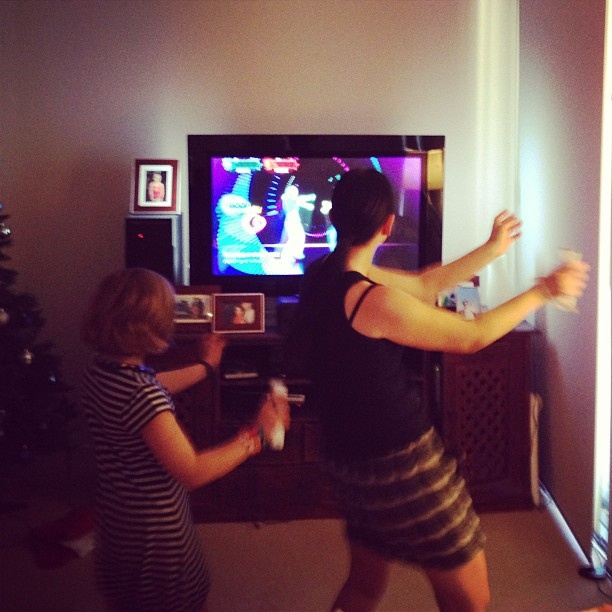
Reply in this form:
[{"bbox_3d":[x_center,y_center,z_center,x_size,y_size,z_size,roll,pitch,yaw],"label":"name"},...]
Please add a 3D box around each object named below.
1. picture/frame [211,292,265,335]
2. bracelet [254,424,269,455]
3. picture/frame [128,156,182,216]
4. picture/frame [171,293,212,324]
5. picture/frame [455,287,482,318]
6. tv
[{"bbox_3d":[-0.289,0.035,2.592,0.147,0.136,0.022,0,-8,-4],"label":"picture/frame"},{"bbox_3d":[-0.109,0.318,1.486,0.045,0.056,0.040,-9,7,-42],"label":"bracelet"},{"bbox_3d":[-0.655,-0.519,2.716,0.236,0.323,0.031,1,-6,-7],"label":"picture/frame"},{"bbox_3d":[-0.452,0.017,2.455,0.108,0.090,0.017,0,-13,-5],"label":"picture/frame"},{"bbox_3d":[0.650,-0.014,2.502,0.111,0.172,0.012,1,-22,1],"label":"picture/frame"},{"bbox_3d":[0.040,-0.366,2.382,0.630,0.521,0.069,0,1,1],"label":"tv"}]
